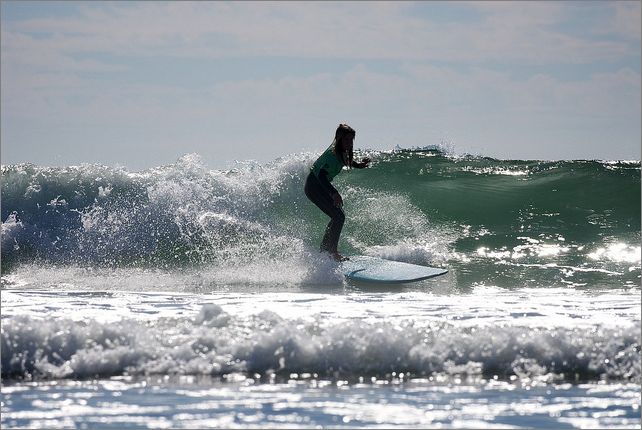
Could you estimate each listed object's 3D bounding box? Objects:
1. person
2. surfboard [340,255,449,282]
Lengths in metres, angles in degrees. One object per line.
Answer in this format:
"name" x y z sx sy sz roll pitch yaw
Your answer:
"person" 0.220 -0.305 16.467 0.652 1.977 0.858 -2 4 -28
"surfboard" 0.888 0.813 16.553 1.809 0.174 0.528 5 14 44
